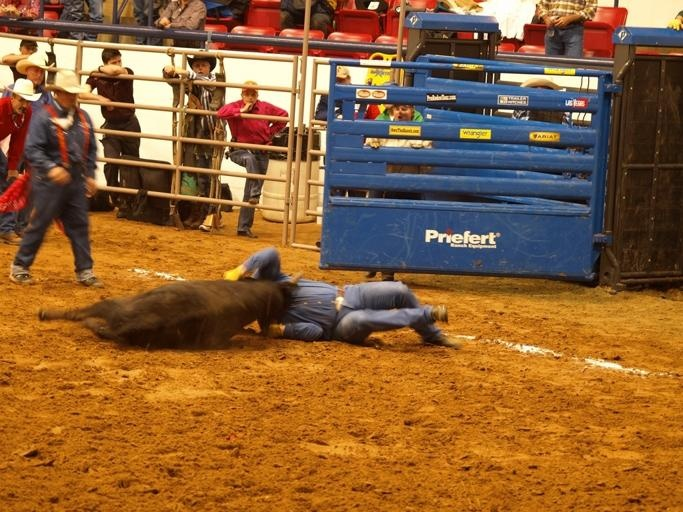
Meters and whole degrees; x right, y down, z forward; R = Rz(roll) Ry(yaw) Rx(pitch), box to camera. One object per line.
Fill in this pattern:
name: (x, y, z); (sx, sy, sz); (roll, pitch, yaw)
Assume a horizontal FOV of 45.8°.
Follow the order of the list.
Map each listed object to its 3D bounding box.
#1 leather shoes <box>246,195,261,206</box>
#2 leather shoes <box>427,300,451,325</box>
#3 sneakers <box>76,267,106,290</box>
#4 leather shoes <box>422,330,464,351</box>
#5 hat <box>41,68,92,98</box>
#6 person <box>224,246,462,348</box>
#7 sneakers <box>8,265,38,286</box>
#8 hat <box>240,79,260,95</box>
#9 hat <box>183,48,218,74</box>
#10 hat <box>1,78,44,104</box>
leather shoes: (-1.231, -0.798, 11.407); (0.111, 0.092, 0.271); (7, -13, 2)
leather shoes: (0.863, 0.481, 7.105); (0.300, 0.204, 0.216); (4, -38, 4)
sneakers: (-2.582, 0.223, 8.270); (0.385, 0.138, 0.148); (2, 8, 1)
leather shoes: (0.907, 0.755, 7.199); (0.461, 0.173, 0.131); (-2, 2, 9)
hat: (-2.633, -1.719, 7.817); (0.262, 0.258, 0.350); (1, 6, -19)
person: (0.138, 0.346, 7.240); (2.132, 0.543, 0.879); (-1, 21, 7)
sneakers: (-3.152, 0.188, 8.198); (0.392, 0.111, 0.133); (8, 12, -10)
hat: (-1.233, -2.358, 11.071); (0.248, 0.128, 0.301); (6, -6, -6)
hat: (-2.016, -2.828, 11.557); (0.686, 0.180, 0.565); (2, -28, -6)
hat: (-3.751, -1.958, 9.413); (0.508, 0.143, 0.399); (4, 6, 33)
